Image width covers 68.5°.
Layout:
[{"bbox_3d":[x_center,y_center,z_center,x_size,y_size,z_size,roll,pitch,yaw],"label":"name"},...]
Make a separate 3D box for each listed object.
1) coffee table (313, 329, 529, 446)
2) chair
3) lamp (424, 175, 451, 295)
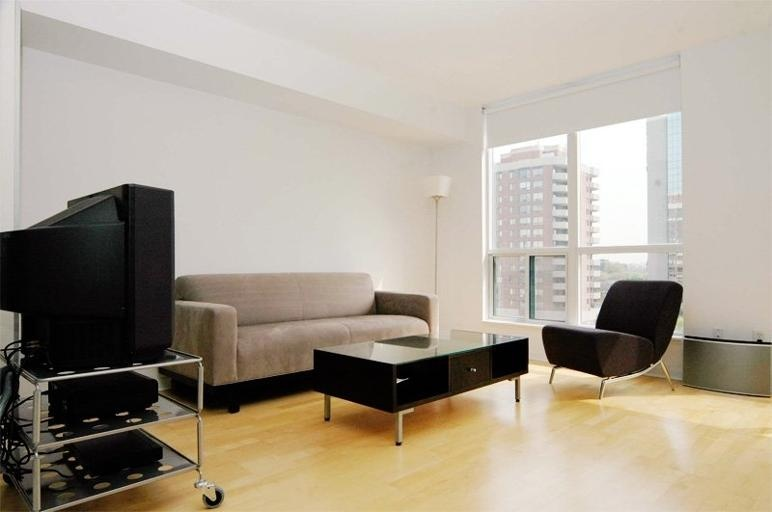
[{"bbox_3d":[0.312,0.997,4.778,1.686,0.619,0.883,-7,13,-33],"label":"coffee table"},{"bbox_3d":[2.153,0.729,5.459,1.170,0.940,0.744,-2,2,-27],"label":"chair"},{"bbox_3d":[0.677,-0.275,7.513,0.332,1.569,0.376,2,12,7],"label":"lamp"}]
